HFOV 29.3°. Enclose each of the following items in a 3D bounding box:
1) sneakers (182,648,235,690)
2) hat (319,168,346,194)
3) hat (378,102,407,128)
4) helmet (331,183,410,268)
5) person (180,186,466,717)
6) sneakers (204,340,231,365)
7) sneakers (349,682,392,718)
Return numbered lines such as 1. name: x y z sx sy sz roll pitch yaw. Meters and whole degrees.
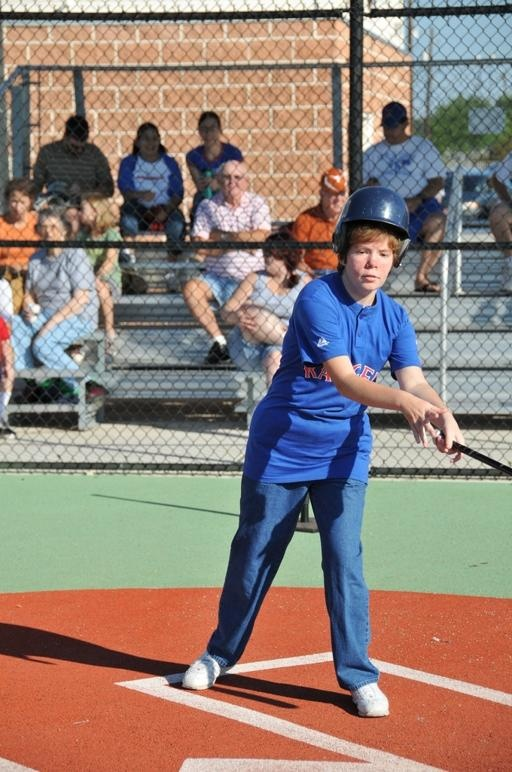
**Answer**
1. sneakers: -0.162 0.993 3.463 0.086 0.074 0.216 8 9 29
2. hat: 0.558 -1.433 6.929 0.149 0.157 0.173 -6 -26 11
3. hat: 1.023 -1.987 7.184 0.189 0.182 0.202 0 12 6
4. helmet: 0.373 -0.501 3.111 0.242 0.257 0.213 -1 13 -1
5. person: 0.278 0.235 3.215 0.892 1.741 0.535 6 16 29
6. sneakers: -0.311 -0.250 7.312 0.152 0.166 0.202 1 -4 40
7. sneakers: 0.382 1.037 3.224 0.079 0.059 0.156 -3 -5 -7
